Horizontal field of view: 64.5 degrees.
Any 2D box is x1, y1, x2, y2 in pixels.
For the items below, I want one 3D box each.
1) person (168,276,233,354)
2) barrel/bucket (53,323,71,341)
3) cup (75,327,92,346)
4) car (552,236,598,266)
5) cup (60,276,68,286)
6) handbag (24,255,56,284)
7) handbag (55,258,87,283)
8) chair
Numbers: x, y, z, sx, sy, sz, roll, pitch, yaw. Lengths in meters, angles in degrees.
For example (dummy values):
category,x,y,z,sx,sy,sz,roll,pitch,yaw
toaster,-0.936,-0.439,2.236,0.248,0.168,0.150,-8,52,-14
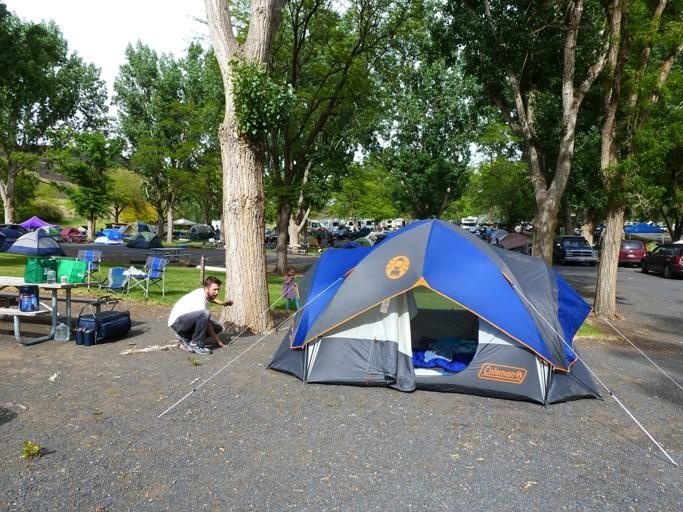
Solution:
category,x,y,z,sx,sy,sz,roll,pitch,yaw
person,-2.868,1.177,10.750,1.019,1.475,0.584,-3,4,-17
barrel/bucket,-5.654,1.542,11.148,0.349,0.536,0.276,1,-5,-21
cup,-5.100,1.617,10.831,0.337,0.339,0.140,-1,4,15
car,12.480,-0.299,29.306,1.382,1.302,2.753,-1,-2,3
cup,-5.472,0.491,10.788,0.147,0.168,0.156,1,3,0
handbag,-6.320,0.285,11.395,0.556,0.473,0.595,0,0,-4
handbag,-6.157,0.338,12.385,0.562,0.455,0.219,4,9,6
chair,-6.974,0.500,16.834,2.011,1.930,2.510,8,11,23
